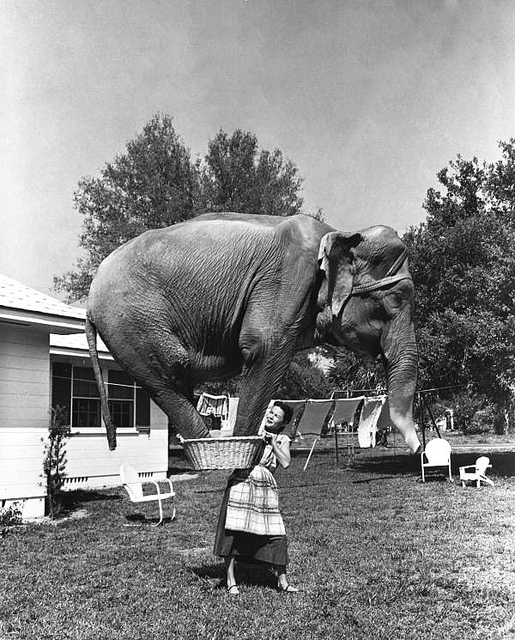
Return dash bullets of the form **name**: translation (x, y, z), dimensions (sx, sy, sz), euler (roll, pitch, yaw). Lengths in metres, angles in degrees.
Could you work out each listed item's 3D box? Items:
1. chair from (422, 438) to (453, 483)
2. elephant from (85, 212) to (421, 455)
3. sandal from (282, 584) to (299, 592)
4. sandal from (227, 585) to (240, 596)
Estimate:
- **chair**: translation (3.667, 2.862, 12.619), dimensions (0.618, 1.064, 0.772), euler (0, -14, 6)
- **elephant**: translation (0.060, 0.049, 3.849), dimensions (1.922, 1.788, 0.919), euler (1, 18, 3)
- **sandal**: translation (0.254, 1.972, 4.562), dimensions (0.130, 0.064, 0.073), euler (2, -11, -20)
- **sandal**: translation (-0.174, 1.954, 4.512), dimensions (0.078, 0.088, 0.120), euler (-1, -10, -3)
